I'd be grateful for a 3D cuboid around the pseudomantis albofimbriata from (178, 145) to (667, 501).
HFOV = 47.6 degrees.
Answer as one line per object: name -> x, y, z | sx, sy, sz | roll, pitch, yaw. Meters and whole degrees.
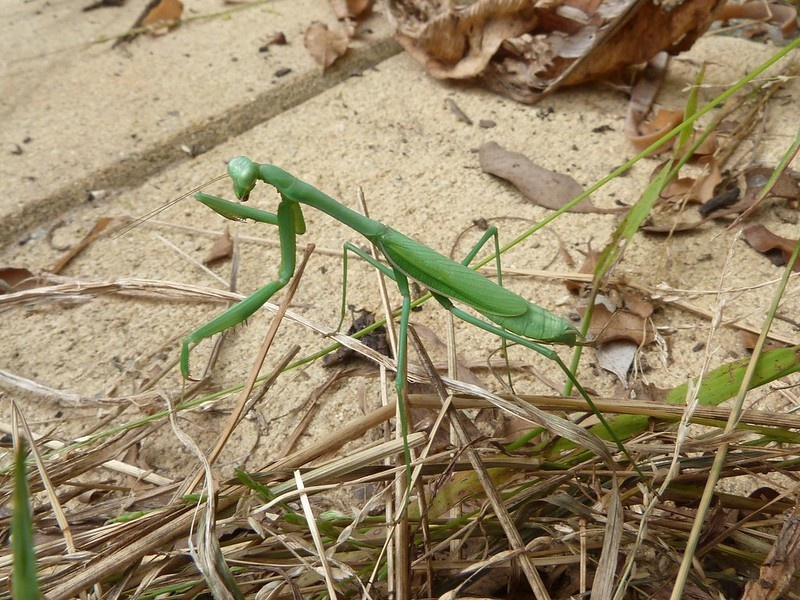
pseudomantis albofimbriata -> -0.043, 0.040, 1.768 | 0.773, 0.526, 0.498 | 2, 71, 5
